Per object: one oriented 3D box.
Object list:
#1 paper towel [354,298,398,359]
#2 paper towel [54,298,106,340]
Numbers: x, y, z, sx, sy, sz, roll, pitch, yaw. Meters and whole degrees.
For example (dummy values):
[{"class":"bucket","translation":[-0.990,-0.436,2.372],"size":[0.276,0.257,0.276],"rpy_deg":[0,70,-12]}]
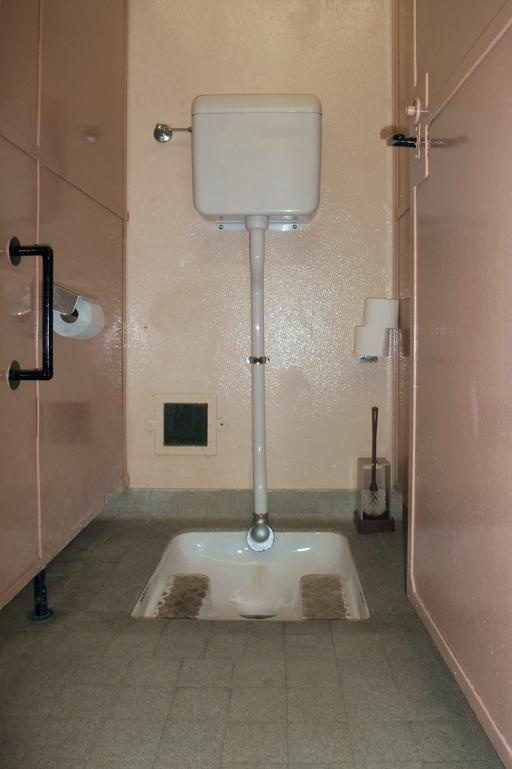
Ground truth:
[{"class":"paper towel","translation":[0.323,-0.152,1.662],"size":[0.118,0.153,0.091],"rpy_deg":[1,6,10]},{"class":"paper towel","translation":[-0.375,-0.134,1.334],"size":[0.072,0.080,0.086],"rpy_deg":[-20,1,8]}]
